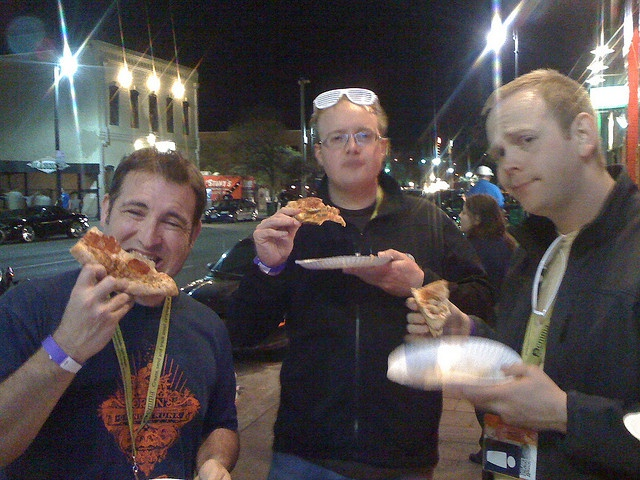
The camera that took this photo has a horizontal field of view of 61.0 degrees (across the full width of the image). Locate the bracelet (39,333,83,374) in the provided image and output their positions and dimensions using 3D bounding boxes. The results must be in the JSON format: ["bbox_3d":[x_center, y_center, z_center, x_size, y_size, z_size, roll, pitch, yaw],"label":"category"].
[{"bbox_3d":[-1.319,0.526,2.784,0.139,0.225,0.200,-42,33,0],"label":"bracelet"}]

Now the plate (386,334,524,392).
[{"bbox_3d":[0.765,0.679,3.101,0.771,0.172,0.507,-1,26,14],"label":"plate"}]

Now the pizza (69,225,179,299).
[{"bbox_3d":[-1.131,0.136,3.038,0.599,0.099,0.347,33,17,-15],"label":"pizza"}]

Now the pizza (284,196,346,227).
[{"bbox_3d":[-0.031,-0.206,3.915,0.381,0.100,0.219,13,26,-10],"label":"pizza"}]

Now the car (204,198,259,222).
[{"bbox_3d":[-6.234,-2.012,37.726,3.889,1.773,2.285,2,4,-18],"label":"car"}]
